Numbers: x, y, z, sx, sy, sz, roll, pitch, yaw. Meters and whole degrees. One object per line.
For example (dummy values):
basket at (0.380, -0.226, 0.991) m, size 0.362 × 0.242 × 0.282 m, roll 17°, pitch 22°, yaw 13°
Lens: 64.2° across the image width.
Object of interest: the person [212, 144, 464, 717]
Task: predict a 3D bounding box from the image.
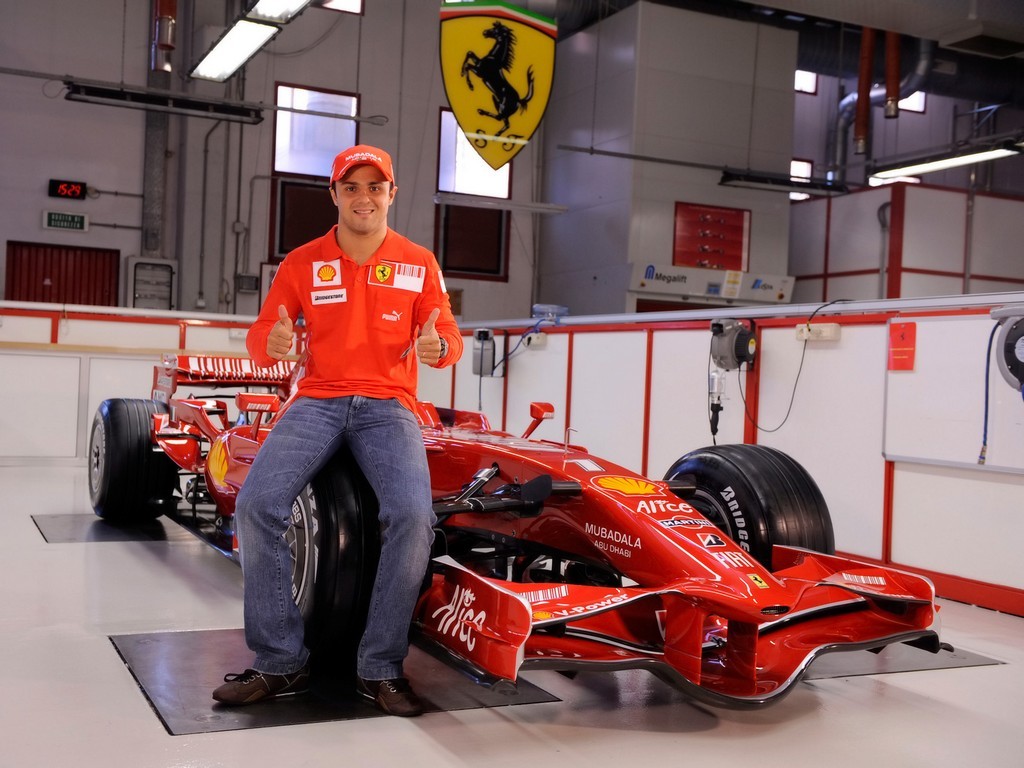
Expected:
person at (-0.567, 0.083, 2.786) m, size 0.781 × 1.932 × 0.761 m, roll 6°, pitch 5°, yaw -31°
